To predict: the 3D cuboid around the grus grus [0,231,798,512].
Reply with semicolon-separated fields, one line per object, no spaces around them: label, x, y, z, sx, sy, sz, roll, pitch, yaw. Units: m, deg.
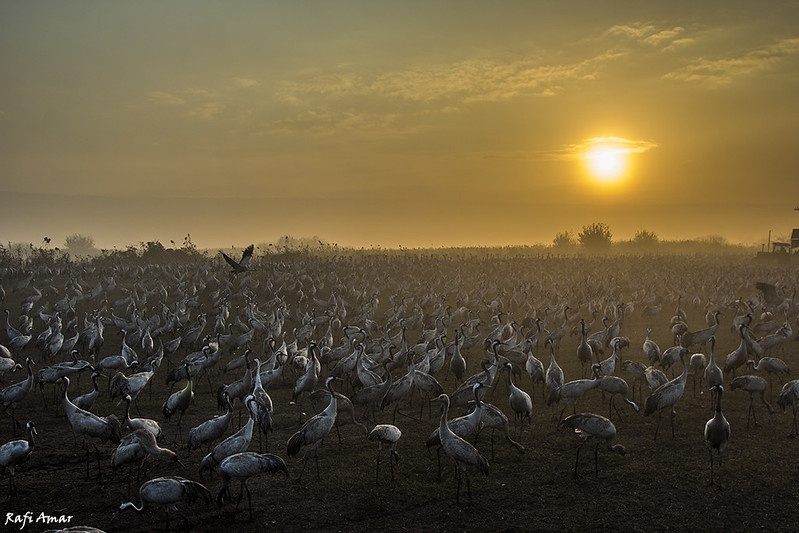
grus grus;-1.831;3.339;68.441;64.570;9.687;59.502;0;-1;-14
